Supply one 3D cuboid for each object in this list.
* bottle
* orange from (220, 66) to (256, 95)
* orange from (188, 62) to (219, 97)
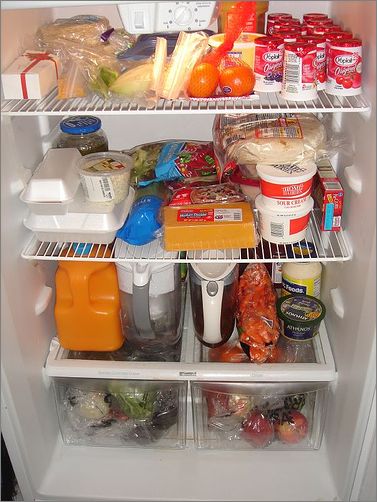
[{"bbox_3d":[0.347,0.089,1.200,0.107,0.174,0.104,-7,24,3],"label":"bottle"},{"bbox_3d":[0.101,-0.321,0.778,0.062,0.060,0.056,0,55,19],"label":"orange"},{"bbox_3d":[0.028,-0.327,0.748,0.066,0.076,0.064,7,19,5],"label":"orange"}]
